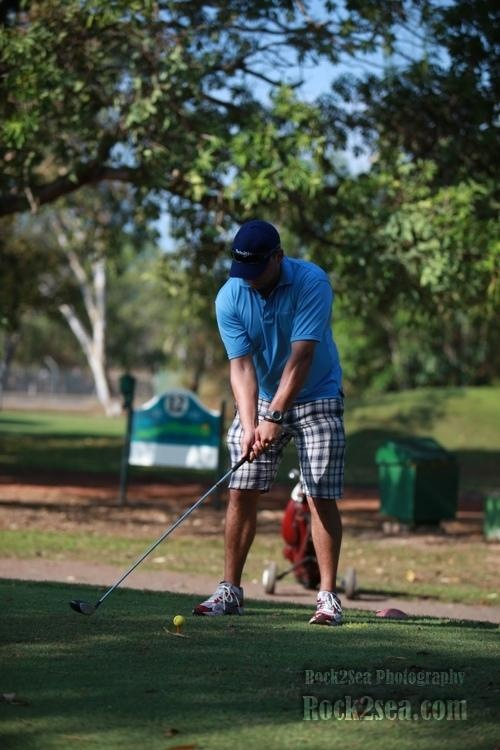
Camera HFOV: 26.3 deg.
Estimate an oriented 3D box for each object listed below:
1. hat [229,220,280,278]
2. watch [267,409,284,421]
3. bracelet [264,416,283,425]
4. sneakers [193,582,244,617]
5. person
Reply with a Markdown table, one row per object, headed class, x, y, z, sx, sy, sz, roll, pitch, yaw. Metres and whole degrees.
| class | x | y | z | sx | sy | sz | roll | pitch | yaw |
| --- | --- | --- | --- | --- | --- | --- | --- | --- | --- |
| hat | 0.019 | -0.533 | 4.587 | 0.199 | 0.260 | 0.160 | 4 | 2 | -2 |
| watch | 0.096 | 0.178 | 4.551 | 0.073 | 0.053 | 0.062 | 3 | 2 | -6 |
| bracelet | 0.104 | 0.183 | 4.539 | 0.059 | 0.035 | 0.052 | 8 | -1 | -21 |
| sneakers | -0.163 | 0.983 | 4.687 | 0.248 | 0.113 | 0.095 | 6 | -8 | -42 |
| person | 0.124 | 0.207 | 4.709 | 0.657 | 1.760 | 0.576 | 4 | 2 | 5 |
